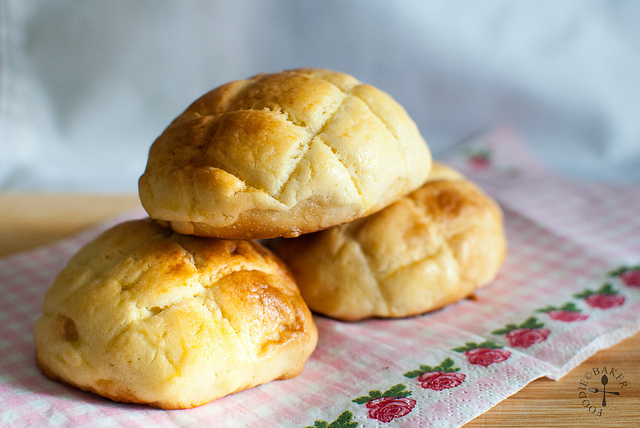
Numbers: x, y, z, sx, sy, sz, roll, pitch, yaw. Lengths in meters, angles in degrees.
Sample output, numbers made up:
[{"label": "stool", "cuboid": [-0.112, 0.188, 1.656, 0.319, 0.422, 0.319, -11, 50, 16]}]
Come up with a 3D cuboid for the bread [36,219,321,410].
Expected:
[{"label": "bread", "cuboid": [-0.427, 0.295, 2.101, 0.809, 0.362, 0.498, -7, 36, -2]}]
